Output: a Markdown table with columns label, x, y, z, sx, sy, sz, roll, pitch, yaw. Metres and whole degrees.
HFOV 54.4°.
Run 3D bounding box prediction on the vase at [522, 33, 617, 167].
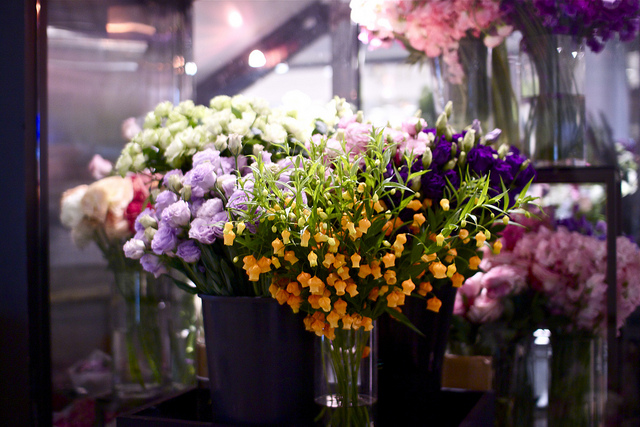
| label | x | y | z | sx | sy | sz | roll | pitch | yaw |
| --- | --- | --- | --- | --- | --- | --- | --- | --- | --- |
| vase | 0.733 | -0.325 | 1.803 | 0.378 | 0.381 | 0.146 | -6 | 4 | -43 |

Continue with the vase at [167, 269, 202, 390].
| label | x | y | z | sx | sy | sz | roll | pitch | yaw |
| --- | --- | --- | --- | --- | --- | --- | --- | --- | --- |
| vase | -0.409 | 0.359 | 1.859 | 0.096 | 0.268 | 0.081 | -3 | 2 | 4 |

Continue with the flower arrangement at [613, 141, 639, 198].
| label | x | y | z | sx | sy | sz | roll | pitch | yaw |
| --- | --- | --- | --- | --- | --- | --- | --- | --- | --- |
| flower arrangement | 0.902 | -0.134 | 1.819 | 0.060 | 0.165 | 0.070 | -3 | 2 | 11 |

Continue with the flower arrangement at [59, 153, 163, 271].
| label | x | y | z | sx | sy | sz | roll | pitch | yaw |
| --- | --- | --- | --- | --- | --- | --- | --- | --- | --- |
| flower arrangement | -0.622 | 0.030 | 1.892 | 0.250 | 0.291 | 0.278 | 21 | 1 | 7 |

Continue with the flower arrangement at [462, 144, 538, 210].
| label | x | y | z | sx | sy | sz | roll | pitch | yaw |
| --- | --- | --- | --- | --- | --- | --- | --- | --- | --- |
| flower arrangement | 0.431 | -0.094 | 1.554 | 0.136 | 0.158 | 0.146 | 4 | 6 | -29 |

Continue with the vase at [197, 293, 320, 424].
| label | x | y | z | sx | sy | sz | roll | pitch | yaw |
| --- | --- | --- | --- | --- | --- | --- | --- | --- | --- |
| vase | -0.179 | 0.352 | 1.613 | 0.293 | 0.261 | 0.277 | -5 | -9 | 39 |

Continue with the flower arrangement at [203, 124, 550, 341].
| label | x | y | z | sx | sy | sz | roll | pitch | yaw |
| --- | --- | --- | --- | --- | --- | --- | --- | --- | --- |
| flower arrangement | 0.083 | 0.054 | 1.428 | 0.566 | 0.436 | 0.580 | -2 | -5 | 18 |

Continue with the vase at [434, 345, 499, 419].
| label | x | y | z | sx | sy | sz | roll | pitch | yaw |
| --- | --- | --- | --- | --- | --- | --- | --- | --- | --- |
| vase | 0.390 | 0.460 | 1.691 | 0.197 | 0.212 | 0.214 | 1 | -21 | 11 |
